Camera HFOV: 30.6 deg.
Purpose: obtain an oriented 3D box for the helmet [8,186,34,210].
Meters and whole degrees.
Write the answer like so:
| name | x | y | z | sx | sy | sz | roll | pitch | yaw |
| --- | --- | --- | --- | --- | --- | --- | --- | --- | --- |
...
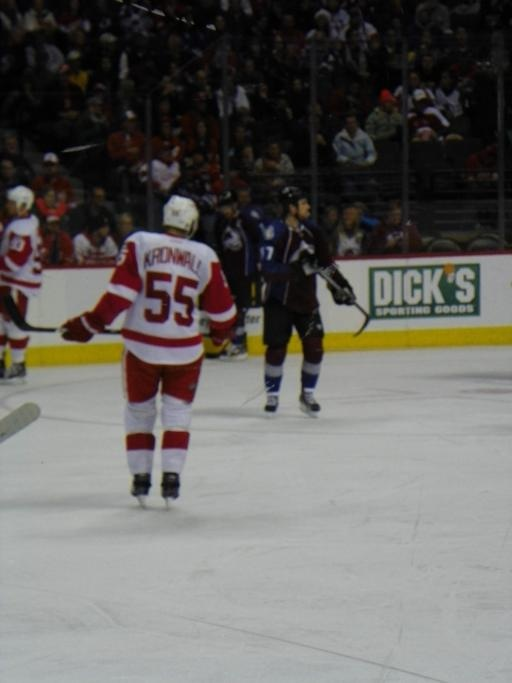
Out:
| name | x | y | z | sx | sy | sz | roll | pitch | yaw |
| --- | --- | --- | --- | --- | --- | --- | --- | --- | --- |
| helmet | -2.181 | -1.350 | 8.782 | 0.262 | 0.217 | 0.196 | -5 | 27 | -27 |

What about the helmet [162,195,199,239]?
| name | x | y | z | sx | sy | sz | roll | pitch | yaw |
| --- | --- | --- | --- | --- | --- | --- | --- | --- | --- |
| helmet | -0.348 | -0.582 | 4.316 | 0.178 | 0.184 | 0.215 | 12 | 4 | 4 |

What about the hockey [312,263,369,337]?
| name | x | y | z | sx | sy | sz | roll | pitch | yaw |
| --- | --- | --- | --- | --- | --- | --- | --- | --- | --- |
| hockey | 0.770 | -0.319 | 7.862 | 0.221 | 0.103 | 0.916 | -28 | 29 | 1 |

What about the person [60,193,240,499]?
| name | x | y | z | sx | sy | sz | roll | pitch | yaw |
| --- | --- | --- | --- | --- | --- | --- | --- | --- | --- |
| person | -0.457 | 0.031 | 4.193 | 0.726 | 1.386 | 0.434 | -1 | 6 | -1 |

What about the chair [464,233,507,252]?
| name | x | y | z | sx | sy | sz | roll | pitch | yaw |
| --- | --- | --- | --- | --- | --- | --- | --- | --- | --- |
| chair | 2.757 | -1.172 | 11.150 | 0.365 | 0.119 | 0.250 | 1 | -4 | -3 |

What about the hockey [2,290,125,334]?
| name | x | y | z | sx | sy | sz | roll | pitch | yaw |
| --- | --- | --- | --- | --- | --- | --- | --- | --- | --- |
| hockey | -1.520 | -0.235 | 7.003 | 0.572 | 0.180 | 0.010 | 14 | -7 | 0 |

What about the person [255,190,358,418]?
| name | x | y | z | sx | sy | sz | roll | pitch | yaw |
| --- | --- | --- | --- | --- | --- | --- | --- | --- | --- |
| person | 0.334 | -0.298 | 6.747 | 0.810 | 1.590 | 0.402 | -6 | 8 | -44 |

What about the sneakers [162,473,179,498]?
| name | x | y | z | sx | sy | sz | roll | pitch | yaw |
| --- | --- | --- | --- | --- | --- | --- | --- | --- | --- |
| sneakers | -0.375 | 0.623 | 4.073 | 0.080 | 0.123 | 0.071 | -3 | 6 | -20 |

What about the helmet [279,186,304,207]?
| name | x | y | z | sx | sy | sz | roll | pitch | yaw |
| --- | --- | --- | --- | --- | --- | --- | --- | --- | --- |
| helmet | 0.245 | -1.026 | 6.611 | 0.132 | 0.125 | 0.278 | -3 | 5 | -22 |
